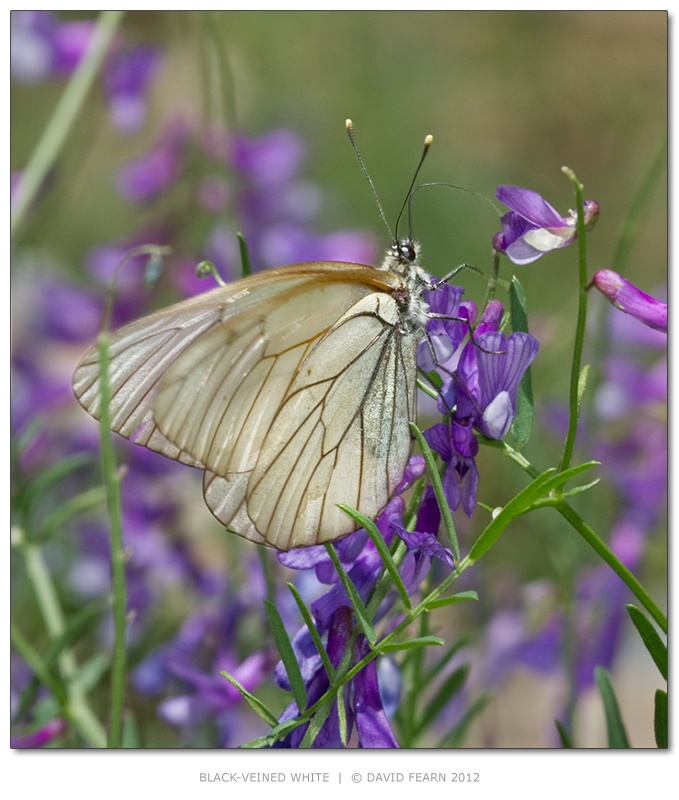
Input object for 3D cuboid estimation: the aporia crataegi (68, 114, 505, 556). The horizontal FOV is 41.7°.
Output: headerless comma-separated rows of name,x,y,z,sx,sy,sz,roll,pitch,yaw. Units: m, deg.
aporia crataegi,-0.023,-0.049,1.616,0.787,0.556,0.534,-41,25,-6
